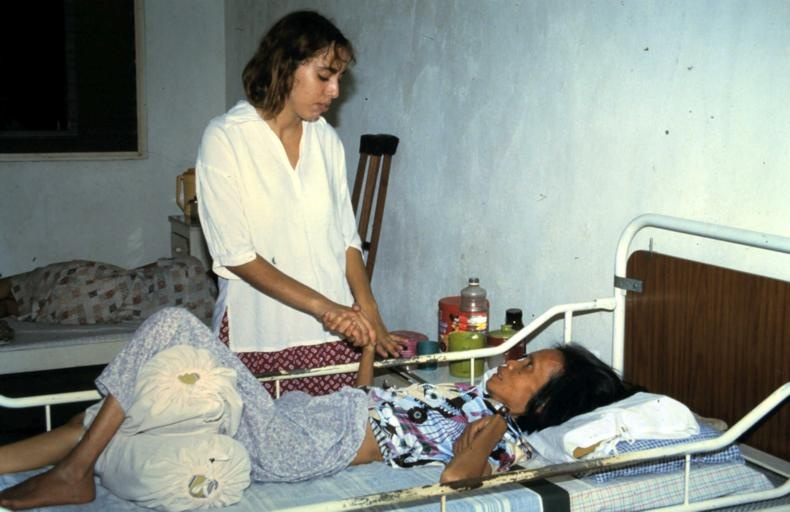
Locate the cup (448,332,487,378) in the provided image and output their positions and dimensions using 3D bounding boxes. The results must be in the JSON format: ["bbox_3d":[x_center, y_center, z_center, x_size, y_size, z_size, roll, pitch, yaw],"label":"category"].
[{"bbox_3d":[0.305,0.439,3.488,0.201,0.219,0.201,2,-11,0],"label":"cup"}]

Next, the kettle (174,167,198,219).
[{"bbox_3d":[-1.446,-0.453,5.587,0.212,0.325,0.211,3,11,2],"label":"kettle"}]

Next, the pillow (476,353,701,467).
[{"bbox_3d":[0.734,0.520,2.660,0.440,0.137,0.325,-13,12,-10],"label":"pillow"}]

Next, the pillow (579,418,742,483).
[{"bbox_3d":[0.913,0.662,2.645,0.536,0.190,0.257,-5,12,-22],"label":"pillow"}]

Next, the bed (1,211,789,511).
[{"bbox_3d":[0.103,0.406,2.926,1.684,0.947,0.864,-5,14,-11],"label":"bed"}]

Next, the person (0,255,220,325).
[{"bbox_3d":[-1.694,0.215,4.686,0.929,0.284,0.628,0,2,-22],"label":"person"}]

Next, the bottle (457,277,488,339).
[{"bbox_3d":[0.345,0.252,3.558,0.156,0.292,0.158,1,7,0],"label":"bottle"}]

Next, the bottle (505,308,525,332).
[{"bbox_3d":[0.510,0.278,3.371,0.079,0.086,0.086,0,4,1],"label":"bottle"}]

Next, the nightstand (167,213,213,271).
[{"bbox_3d":[-1.282,-0.080,4.860,0.216,0.310,0.315,-8,19,-27],"label":"nightstand"}]
